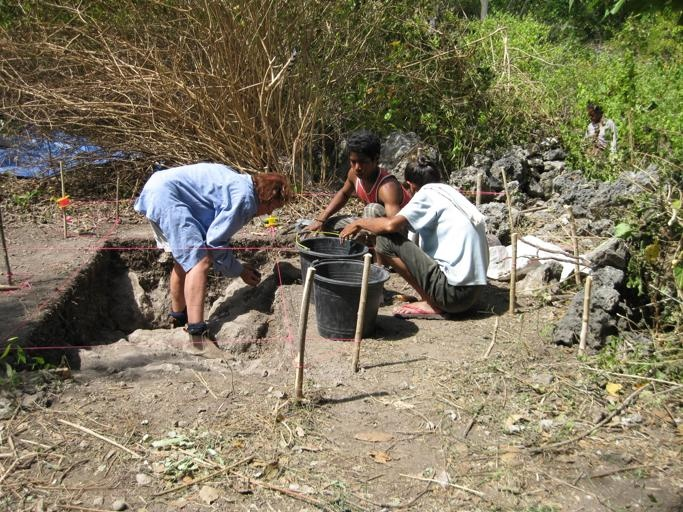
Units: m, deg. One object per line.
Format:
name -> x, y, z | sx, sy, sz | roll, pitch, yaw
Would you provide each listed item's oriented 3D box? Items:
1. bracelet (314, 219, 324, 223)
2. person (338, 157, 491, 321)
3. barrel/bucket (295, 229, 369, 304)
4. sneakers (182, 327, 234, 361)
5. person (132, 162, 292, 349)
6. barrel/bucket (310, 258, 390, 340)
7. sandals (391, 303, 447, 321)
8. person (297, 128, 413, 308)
bracelet -> -0.223, -0.352, 5.993 | 0.037, 0.040, 0.107 | 2, -9, 21
person -> 0.712, -0.190, 5.458 | 1.169, 1.300, 1.344 | -1, 7, -40
barrel/bucket -> -0.046, 0.147, 5.568 | 0.883, 0.536, 0.778 | 13, 16, -2
sneakers -> -1.156, 0.728, 5.044 | 0.210, 0.255, 0.594 | 13, -4, 41
person -> -1.102, -0.007, 5.072 | 1.245, 1.543, 0.553 | -2, 11, -10
barrel/bucket -> 0.074, 0.422, 4.983 | 0.730, 0.466, 0.677 | 5, 2, 0
sandals -> 0.686, 0.474, 5.248 | 0.423, 0.104, 0.165 | 3, 2, 1
person -> 0.134, -0.698, 5.866 | 1.251, 0.939, 0.757 | 0, 19, 5
